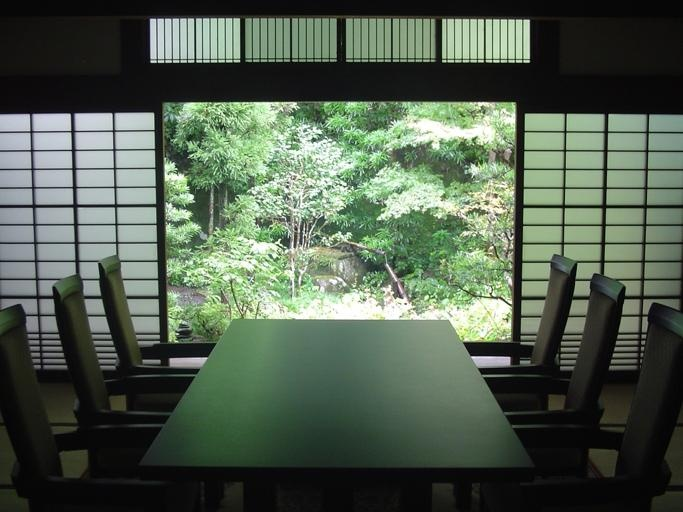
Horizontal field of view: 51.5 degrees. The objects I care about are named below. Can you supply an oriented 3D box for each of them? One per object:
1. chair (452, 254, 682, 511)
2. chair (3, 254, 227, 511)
[{"bbox_3d":[1.190,0.649,4.557,1.227,1.874,1.293,0,1,3],"label":"chair"},{"bbox_3d":[-1.355,0.593,3.982,1.150,1.755,1.014,-1,5,-3],"label":"chair"}]
